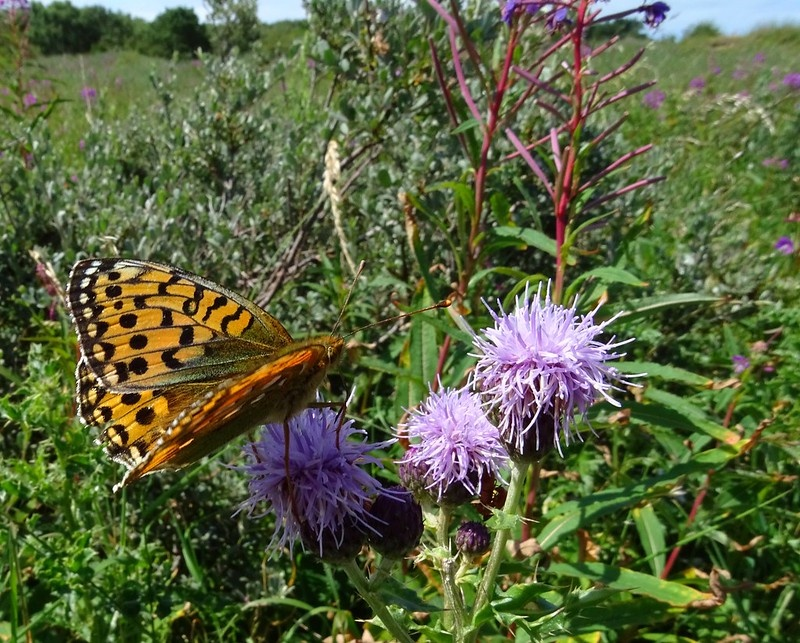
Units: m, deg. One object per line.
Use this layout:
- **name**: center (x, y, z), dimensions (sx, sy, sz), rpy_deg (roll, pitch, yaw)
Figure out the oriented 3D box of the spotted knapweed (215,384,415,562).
- **spotted knapweed**: center (-0.338, 0.652, 3.153), dimensions (0.660, 0.547, 0.391), rpy_deg (-9, 23, -15)
